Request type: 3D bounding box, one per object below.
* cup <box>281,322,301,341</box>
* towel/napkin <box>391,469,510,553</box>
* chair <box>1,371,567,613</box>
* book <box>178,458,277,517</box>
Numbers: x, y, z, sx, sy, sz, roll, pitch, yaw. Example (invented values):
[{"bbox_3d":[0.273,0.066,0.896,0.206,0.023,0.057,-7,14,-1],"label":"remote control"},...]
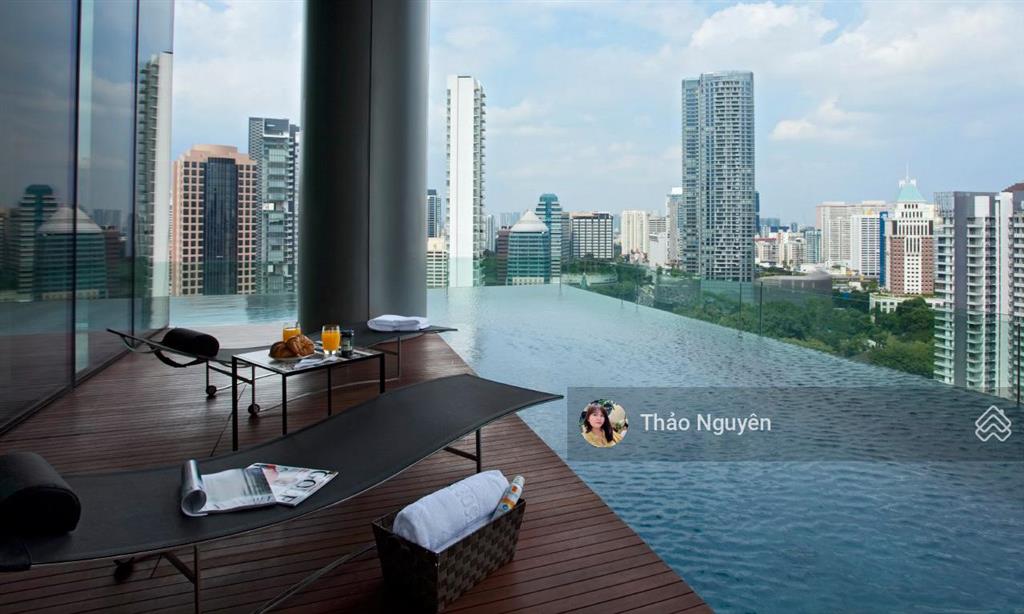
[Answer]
[{"bbox_3d":[-1.780,0.204,5.520,0.174,0.129,0.152,0,0,-7],"label":"cup"},{"bbox_3d":[-0.333,1.224,4.138,0.596,0.151,0.384,-18,35,-39],"label":"towel/napkin"},{"bbox_3d":[-1.032,1.194,4.527,3.672,0.701,1.171,-12,22,-32],"label":"chair"},{"bbox_3d":[-1.689,1.070,3.998,0.431,0.103,0.383,-1,18,-25],"label":"book"}]
